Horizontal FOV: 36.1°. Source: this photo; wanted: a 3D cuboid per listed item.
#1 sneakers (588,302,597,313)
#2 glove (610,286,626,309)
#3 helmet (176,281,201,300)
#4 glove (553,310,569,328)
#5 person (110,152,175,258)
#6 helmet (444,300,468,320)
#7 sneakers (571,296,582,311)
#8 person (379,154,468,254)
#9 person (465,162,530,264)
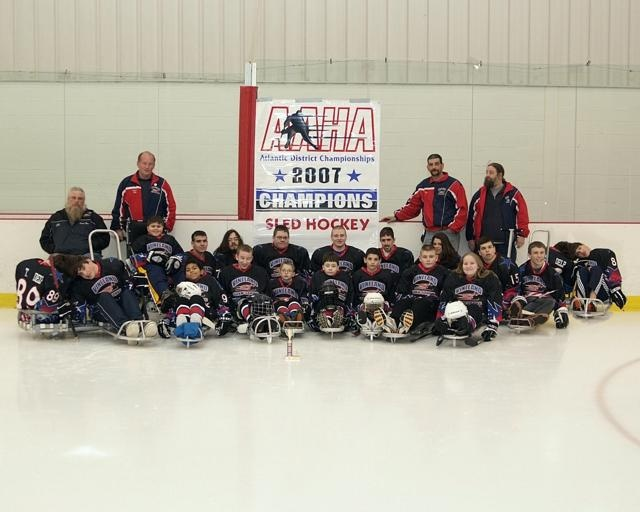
[{"bbox_3d":[2.841,0.553,10.387,0.077,0.111,0.041,0,5,16],"label":"sneakers"},{"bbox_3d":[3.197,0.463,10.650,0.180,0.221,0.101,-23,-18,33],"label":"glove"},{"bbox_3d":[-1.218,0.327,9.129,0.239,0.152,0.485,-2,9,-8],"label":"helmet"},{"bbox_3d":[2.373,0.638,9.822,0.110,0.079,0.195,9,13,34],"label":"glove"},{"bbox_3d":[-1.876,-0.599,10.437,0.687,0.962,0.503,-2,9,-11],"label":"person"},{"bbox_3d":[1.203,0.495,8.851,0.204,0.157,0.268,1,9,9],"label":"helmet"},{"bbox_3d":[2.687,0.521,10.434,0.120,0.137,0.122,0,1,15],"label":"sneakers"},{"bbox_3d":[1.171,-0.580,10.694,0.790,1.017,0.276,6,10,35],"label":"person"},{"bbox_3d":[1.885,-0.461,10.630,0.651,1.045,0.369,1,9,8],"label":"person"}]
